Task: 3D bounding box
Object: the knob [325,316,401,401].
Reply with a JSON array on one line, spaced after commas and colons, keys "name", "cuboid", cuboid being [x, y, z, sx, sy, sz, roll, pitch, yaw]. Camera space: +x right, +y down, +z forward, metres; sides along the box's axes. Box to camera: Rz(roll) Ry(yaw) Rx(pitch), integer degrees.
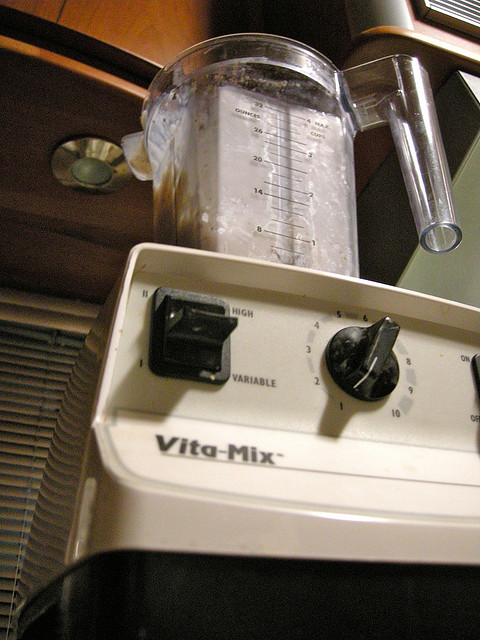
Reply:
[{"name": "knob", "cuboid": [0.088, 0.029, 0.448, 0.047, 0.072, 0.047, 1, 11, -12]}]
